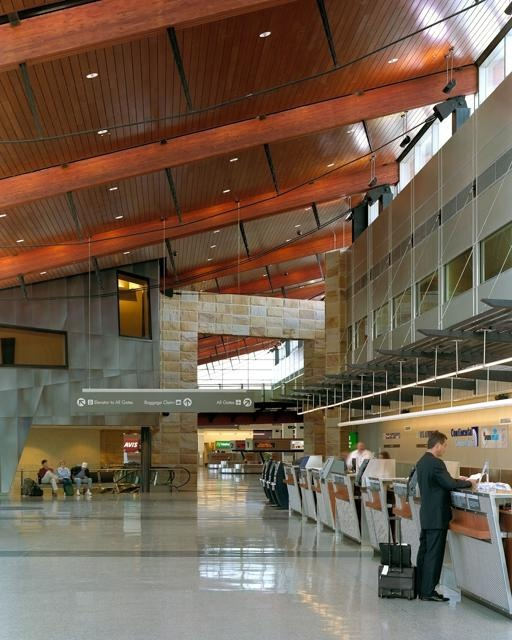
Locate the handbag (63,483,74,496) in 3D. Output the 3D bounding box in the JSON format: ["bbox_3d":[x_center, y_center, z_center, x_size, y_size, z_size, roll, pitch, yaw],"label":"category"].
[{"bbox_3d":[-6.612,5.949,21.191,0.377,0.438,0.372,1,-10,-4],"label":"handbag"}]

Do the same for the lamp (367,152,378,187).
[{"bbox_3d":[3.544,-4.515,18.304,0.268,0.846,1.378,-2,-10,13],"label":"lamp"}]

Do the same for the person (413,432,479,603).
[{"bbox_3d":[1.511,1.604,4.916,0.404,1.336,0.451,2,-10,-8],"label":"person"}]

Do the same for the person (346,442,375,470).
[{"bbox_3d":[2.232,2.954,13.001,0.494,0.602,1.694,-1,-10,8],"label":"person"}]

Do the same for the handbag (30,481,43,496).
[{"bbox_3d":[-7.807,6.064,21.453,0.344,0.482,0.476,3,-5,-10],"label":"handbag"}]

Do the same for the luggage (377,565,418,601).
[{"bbox_3d":[1.131,2.115,4.900,0.341,0.322,0.218,-1,-17,7],"label":"luggage"}]
